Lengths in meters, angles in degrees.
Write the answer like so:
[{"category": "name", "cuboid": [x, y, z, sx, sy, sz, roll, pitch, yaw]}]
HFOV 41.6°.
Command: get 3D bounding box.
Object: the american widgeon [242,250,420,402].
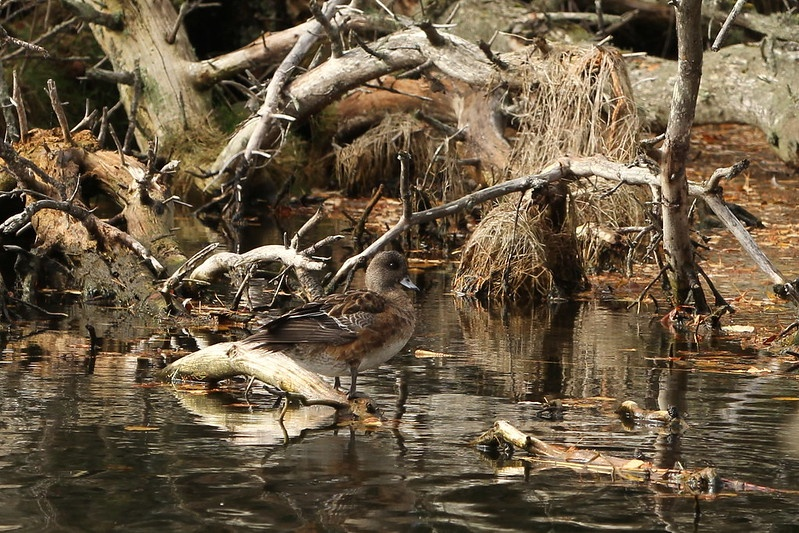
[{"category": "american widgeon", "cuboid": [-0.524, 0.443, 8.221, 1.817, 1.060, 0.750, -6, 6, -41]}]
